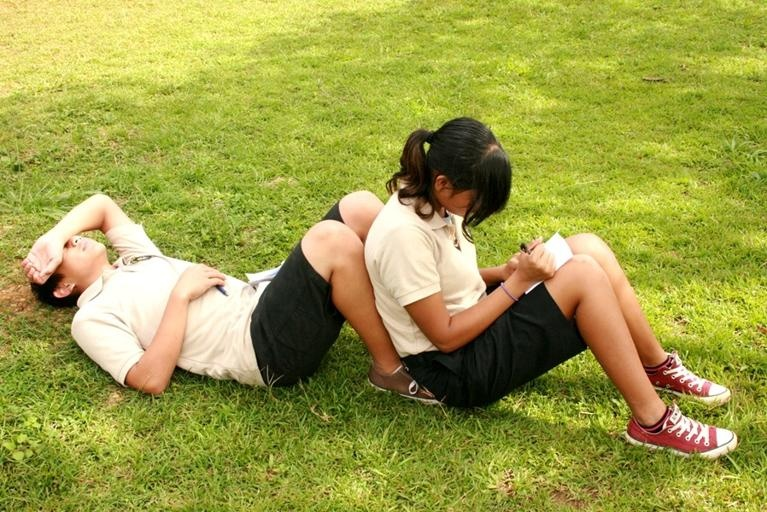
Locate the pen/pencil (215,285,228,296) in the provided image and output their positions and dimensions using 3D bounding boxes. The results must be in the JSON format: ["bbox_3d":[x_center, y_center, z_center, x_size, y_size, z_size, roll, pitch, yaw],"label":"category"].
[{"bbox_3d":[-1.153,0.251,4.221,0.024,0.091,0.024,-47,10,29],"label":"pen/pencil"}]

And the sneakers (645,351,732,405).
[{"bbox_3d":[2.053,0.832,4.059,0.213,0.264,0.639,-28,8,-22],"label":"sneakers"}]

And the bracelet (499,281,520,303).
[{"bbox_3d":[0.810,0.245,3.811,0.028,0.120,0.125,-51,32,1],"label":"bracelet"}]
